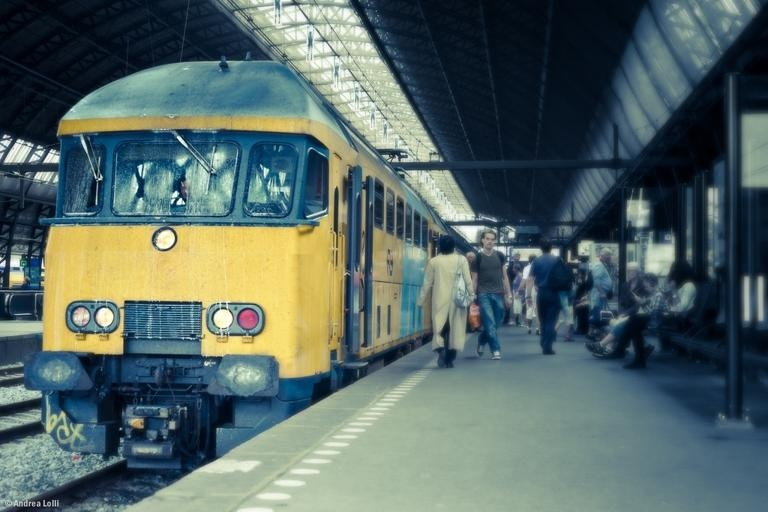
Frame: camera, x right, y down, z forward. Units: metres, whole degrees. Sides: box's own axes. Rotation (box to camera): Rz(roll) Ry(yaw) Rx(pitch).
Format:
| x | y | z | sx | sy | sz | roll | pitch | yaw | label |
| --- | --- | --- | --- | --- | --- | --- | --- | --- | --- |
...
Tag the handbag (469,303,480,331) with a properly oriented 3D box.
| x | y | z | sx | sy | sz | roll | pitch | yaw | label |
| --- | --- | --- | --- | --- | --- | --- | --- | --- | --- |
| 1.925 | 1.375 | 15.898 | 0.473 | 0.669 | 0.197 | 2 | -2 | -44 | handbag |
